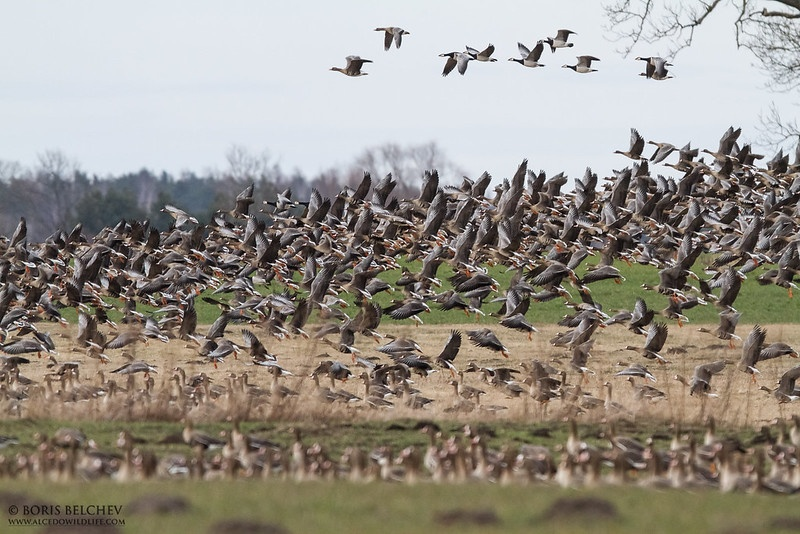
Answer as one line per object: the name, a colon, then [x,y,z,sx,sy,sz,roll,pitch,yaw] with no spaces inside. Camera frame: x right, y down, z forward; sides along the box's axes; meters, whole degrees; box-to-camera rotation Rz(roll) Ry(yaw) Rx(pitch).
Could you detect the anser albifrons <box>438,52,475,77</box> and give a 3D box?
anser albifrons: [1.708,-6.130,46.896,0.692,0.641,0.662,2,5,-5]
